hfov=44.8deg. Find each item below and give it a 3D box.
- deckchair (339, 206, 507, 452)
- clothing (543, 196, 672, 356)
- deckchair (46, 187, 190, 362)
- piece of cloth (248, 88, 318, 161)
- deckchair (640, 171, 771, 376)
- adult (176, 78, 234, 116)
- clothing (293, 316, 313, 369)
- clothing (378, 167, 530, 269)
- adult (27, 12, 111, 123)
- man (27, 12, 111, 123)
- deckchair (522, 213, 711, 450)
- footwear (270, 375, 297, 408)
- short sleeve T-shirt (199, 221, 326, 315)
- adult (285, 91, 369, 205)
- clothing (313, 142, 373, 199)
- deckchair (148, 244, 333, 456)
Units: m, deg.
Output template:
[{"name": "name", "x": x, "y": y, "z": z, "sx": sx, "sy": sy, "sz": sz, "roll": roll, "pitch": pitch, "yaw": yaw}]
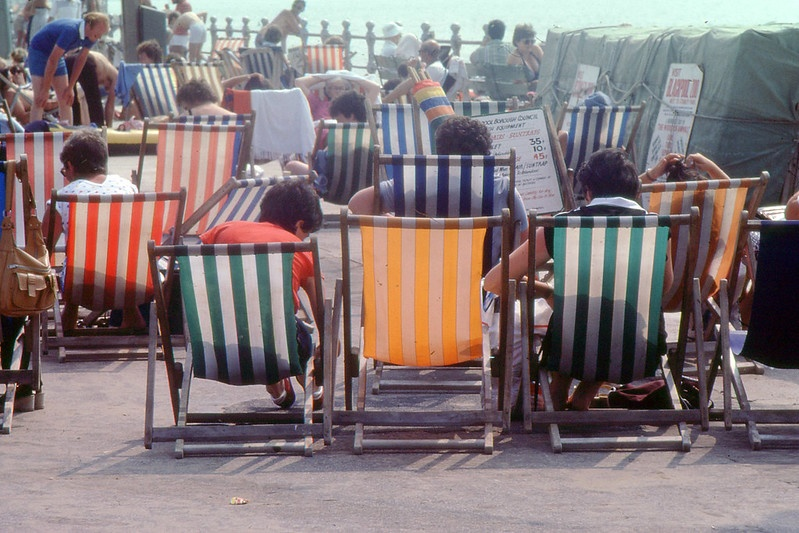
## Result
[{"name": "deckchair", "x": 0.145, "y": 0.292, "z": 5.539, "sx": 0.946, "sy": 1.313, "sz": 1.040, "roll": 0, "pitch": 9, "yaw": 6}, {"name": "clothing", "x": 1.114, "y": 0.267, "z": 5.103, "sx": 0.731, "sy": 1.074, "sz": 0.699, "roll": 0, "pitch": 19, "yaw": 10}, {"name": "deckchair", "x": -1.881, "y": 0.008, "z": 6.393, "sx": 0.732, "sy": 1.021, "sz": 1.061, "roll": 2, "pitch": -2, "yaw": -13}, {"name": "piece of cloth", "x": -1.423, "y": -1.614, "z": 11.099, "sx": 0.741, "sy": 0.739, "sz": 0.988, "roll": -1, "pitch": 4, "yaw": -8}, {"name": "deckchair", "x": 1.906, "y": -0.107, "z": 5.865, "sx": 0.721, "sy": 1.122, "sz": 1.073, "roll": -3, "pitch": 6, "yaw": -4}, {"name": "adult", "x": -2.161, "y": -1.745, "z": 10.484, "sx": 0.553, "sy": 0.338, "sz": 0.810, "roll": 1, "pitch": 0, "yaw": -3}, {"name": "clothing", "x": -0.557, "y": 0.420, "z": 5.463, "sx": 0.172, "sy": 0.251, "sz": 0.088, "roll": 10, "pitch": -10, "yaw": -34}, {"name": "clothing", "x": 0.378, "y": -0.395, "z": 6.235, "sx": 0.800, "sy": 0.813, "sz": 0.641, "roll": 2, "pitch": 43, "yaw": 2}, {"name": "adult", "x": -3.854, "y": -2.167, "z": 11.244, "sx": 1.026, "sy": 1.632, "sz": 0.562, "roll": 10, "pitch": 15, "yaw": 8}, {"name": "man", "x": -3.846, "y": -2.161, "z": 11.240, "sx": 1.023, "sy": 1.621, "sz": 0.562, "roll": 10, "pitch": 15, "yaw": 9}, {"name": "deckchair", "x": 1.183, "y": 0.292, "z": 5.358, "sx": 1.035, "sy": 1.188, "sz": 1.705, "roll": -1, "pitch": 1, "yaw": 9}, {"name": "footwear", "x": -0.688, "y": 0.730, "z": 5.693, "sx": 0.102, "sy": 0.199, "sz": 0.080, "roll": -2, "pitch": 9, "yaw": 27}, {"name": "short sleeve T-shirt", "x": -0.781, "y": -0.048, "z": 5.461, "sx": 0.595, "sy": 0.631, "sz": 0.489, "roll": -1, "pitch": 13, "yaw": 2}, {"name": "adult", "x": -0.520, "y": -0.969, "z": 9.133, "sx": 0.653, "sy": 1.061, "sz": 0.851, "roll": 3, "pitch": 24, "yaw": -4}, {"name": "clothing", "x": -0.530, "y": -1.021, "z": 8.971, "sx": 0.467, "sy": 0.340, "sz": 0.626, "roll": -4, "pitch": 0, "yaw": 14}, {"name": "deckchair", "x": -0.863, "y": 0.424, "z": 5.433, "sx": 0.810, "sy": 1.292, "sz": 0.860, "roll": -2, "pitch": 16, "yaw": -5}]
